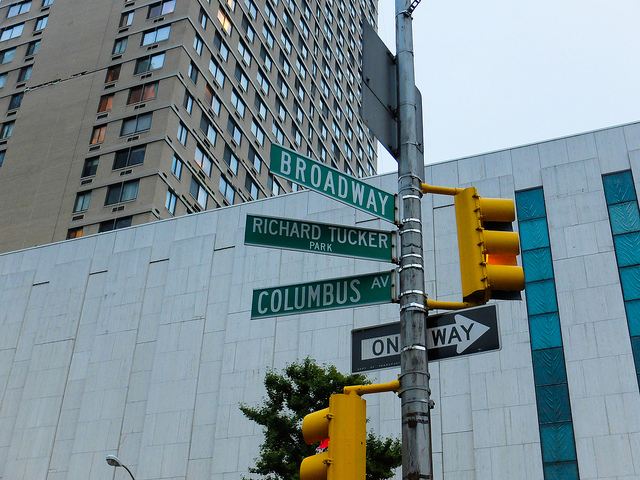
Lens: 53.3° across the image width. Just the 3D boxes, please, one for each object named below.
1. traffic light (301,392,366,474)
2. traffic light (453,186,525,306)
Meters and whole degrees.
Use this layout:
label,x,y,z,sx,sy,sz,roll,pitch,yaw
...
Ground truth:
label,x,y,z,sx,sy,sz,roll,pitch,yaw
traffic light,0.196,2.580,8.613,0.858,1.078,0.404,-4,-24,4
traffic light,2.493,0.012,9.440,0.899,1.803,0.520,-7,-24,10
